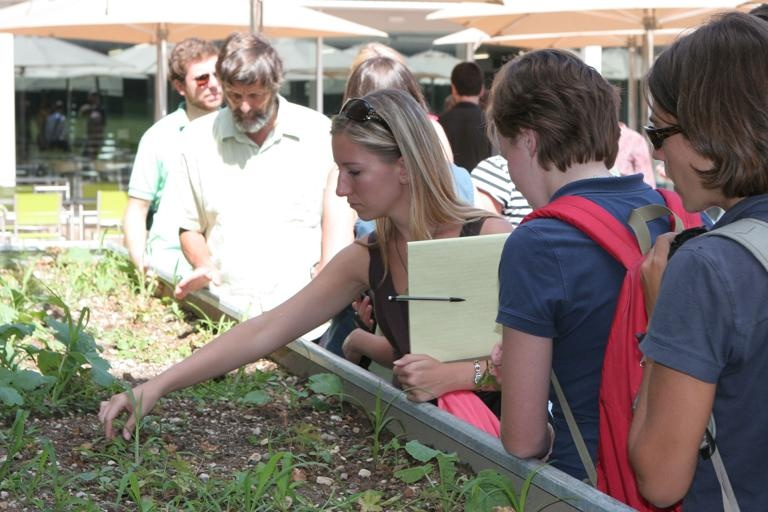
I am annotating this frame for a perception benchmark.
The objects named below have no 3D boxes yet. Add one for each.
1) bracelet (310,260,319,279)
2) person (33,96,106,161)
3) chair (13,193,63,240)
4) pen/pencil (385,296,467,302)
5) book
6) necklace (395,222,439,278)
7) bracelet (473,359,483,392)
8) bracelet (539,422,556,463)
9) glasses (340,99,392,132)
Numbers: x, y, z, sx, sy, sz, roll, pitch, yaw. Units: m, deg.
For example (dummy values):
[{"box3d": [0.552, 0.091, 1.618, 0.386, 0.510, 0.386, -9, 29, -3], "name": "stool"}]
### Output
[{"box3d": [-0.378, 0.081, 4.361, 0.060, 0.079, 0.170, 1, 3, -2], "name": "bracelet"}, {"box3d": [-3.969, -1.690, 10.061, 0.259, 0.836, 1.000, 4, 9, 26], "name": "person"}, {"box3d": [-3.893, -0.477, 8.909, 0.605, 0.611, 0.549, 0, 9, -13], "name": "chair"}, {"box3d": [0.161, 0.145, 2.768, 0.232, 0.021, 0.021, 3, 3, -10], "name": "pen/pencil"}, {"box3d": [0.265, 0.143, 2.740, 0.418, 0.454, 0.044, -4, 10, -13], "name": "book"}, {"box3d": [0.123, -0.035, 3.196, 0.200, 0.196, 0.054, 6, 3, 28], "name": "necklace"}, {"box3d": [0.342, 0.425, 2.880, 0.046, 0.077, 0.077, 3, 9, 7], "name": "bracelet"}, {"box3d": [0.543, 0.612, 2.592, 0.088, 0.110, 0.120, -1, 2, 9], "name": "bracelet"}, {"box3d": [-0.073, -0.564, 3.084, 0.131, 0.061, 0.164, 12, -15, 46], "name": "glasses"}]
